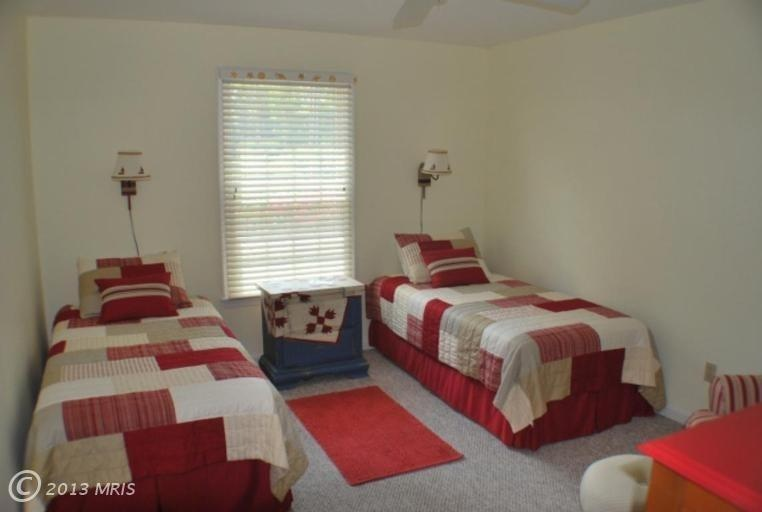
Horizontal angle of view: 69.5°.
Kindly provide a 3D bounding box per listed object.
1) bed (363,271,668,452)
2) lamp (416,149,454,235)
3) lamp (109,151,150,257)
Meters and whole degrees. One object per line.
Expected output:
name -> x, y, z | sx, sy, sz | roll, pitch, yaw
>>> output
bed -> 0.838, 0.762, 4.615 | 1.129, 0.589, 1.698 | -5, 7, -29
lamp -> 0.559, -0.644, 5.507 | 0.357, 0.832, 0.496 | -4, 8, -1
lamp -> -2.065, -0.437, 4.606 | 0.281, 0.902, 0.304 | -7, 9, -23
